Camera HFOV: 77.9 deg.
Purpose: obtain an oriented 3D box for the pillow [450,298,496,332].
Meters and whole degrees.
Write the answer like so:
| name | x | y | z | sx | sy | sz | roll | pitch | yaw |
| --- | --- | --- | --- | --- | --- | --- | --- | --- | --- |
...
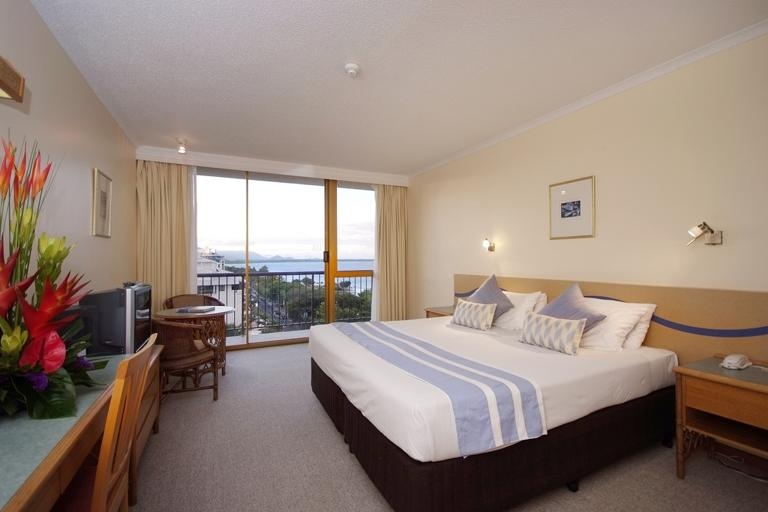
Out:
| name | x | y | z | sx | sy | sz | roll | pitch | yaw |
| --- | --- | --- | --- | --- | --- | --- | --- | --- | --- |
| pillow | 1.005 | 0.647 | 5.204 | 0.123 | 0.274 | 0.440 | 28 | -17 | -34 |

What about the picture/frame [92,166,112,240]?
| name | x | y | z | sx | sy | sz | roll | pitch | yaw |
| --- | --- | --- | --- | --- | --- | --- | --- | --- | --- |
| picture/frame | -2.882 | -0.539 | 4.804 | 0.057 | 0.882 | 0.756 | 0 | 2 | -20 |

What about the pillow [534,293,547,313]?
| name | x | y | z | sx | sy | sz | roll | pitch | yaw |
| --- | --- | --- | --- | --- | --- | --- | --- | --- | --- |
| pillow | 1.709 | 0.496 | 5.122 | 0.055 | 0.189 | 0.184 | 23 | -39 | -19 |

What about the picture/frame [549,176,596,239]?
| name | x | y | z | sx | sy | sz | roll | pitch | yaw |
| --- | --- | --- | --- | --- | --- | --- | --- | --- | --- |
| picture/frame | 2.020 | -0.514 | 4.982 | 0.041 | 0.916 | 0.676 | -1 | 1 | -37 |

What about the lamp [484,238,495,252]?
| name | x | y | z | sx | sy | sz | roll | pitch | yaw |
| --- | --- | --- | --- | --- | --- | --- | --- | --- | --- |
| lamp | 1.340 | -0.140 | 5.960 | 0.166 | 0.172 | 0.093 | 2 | -1 | 13 |

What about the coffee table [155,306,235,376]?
| name | x | y | z | sx | sy | sz | roll | pitch | yaw |
| --- | --- | --- | --- | --- | --- | --- | --- | --- | --- |
| coffee table | -2.173 | 0.889 | 5.467 | 0.787 | 0.749 | 0.850 | 0 | -3 | -18 |

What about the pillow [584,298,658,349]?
| name | x | y | z | sx | sy | sz | roll | pitch | yaw |
| --- | --- | --- | --- | --- | --- | --- | --- | --- | --- |
| pillow | 2.291 | 0.628 | 4.420 | 0.143 | 0.451 | 0.475 | 32 | -7 | -23 |

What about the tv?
| name | x | y | z | sx | sy | sz | roll | pitch | yaw |
| --- | --- | --- | --- | --- | --- | --- | --- | --- | --- |
| tv | -2.378 | 0.562 | 4.227 | 0.392 | 0.663 | 0.733 | 2 | -2 | -15 |

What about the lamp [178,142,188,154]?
| name | x | y | z | sx | sy | sz | roll | pitch | yaw |
| --- | --- | --- | --- | --- | --- | --- | --- | --- | --- |
| lamp | -2.559 | -1.375 | 6.048 | 0.132 | 0.151 | 0.132 | -8 | 12 | -42 |
